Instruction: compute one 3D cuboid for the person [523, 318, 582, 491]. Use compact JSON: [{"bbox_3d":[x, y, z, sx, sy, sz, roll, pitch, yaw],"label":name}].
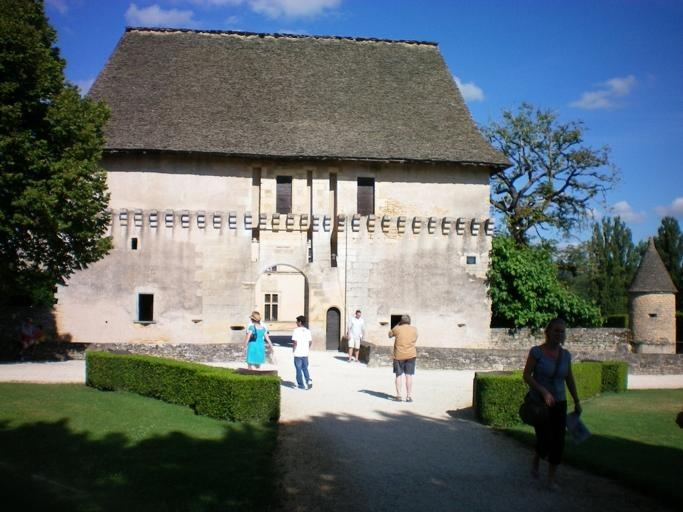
[{"bbox_3d":[4.681,3.237,17.632,0.959,3.711,1.015,-2,-6,40],"label":"person"}]
